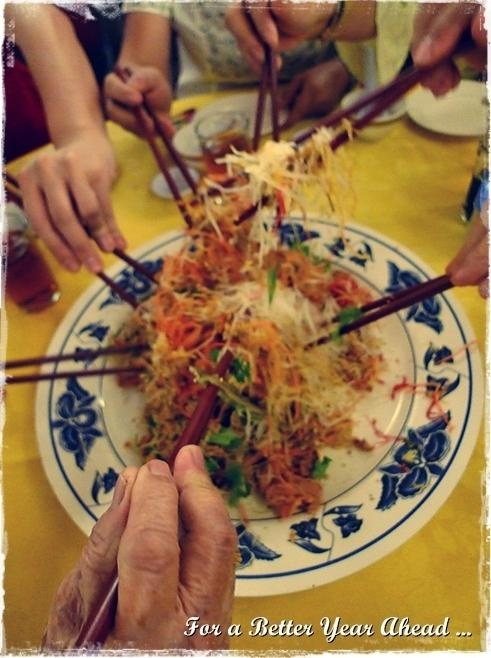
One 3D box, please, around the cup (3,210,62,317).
[{"bbox_3d":[-0.550,-0.163,1.636,0.132,0.230,0.216,-15,62,-6],"label":"cup"}]
